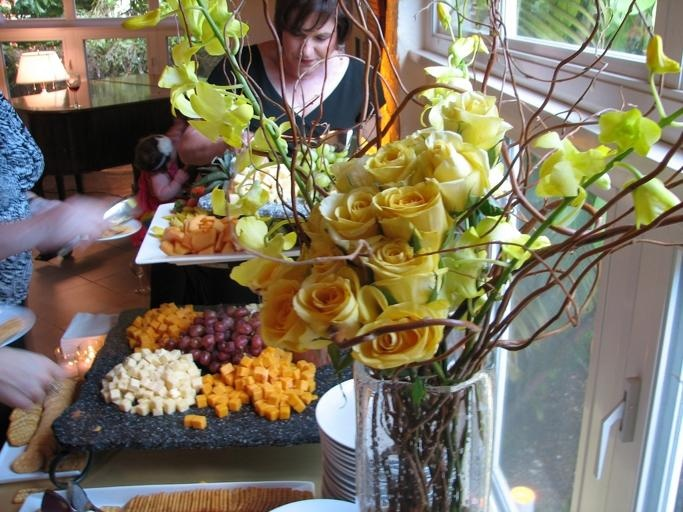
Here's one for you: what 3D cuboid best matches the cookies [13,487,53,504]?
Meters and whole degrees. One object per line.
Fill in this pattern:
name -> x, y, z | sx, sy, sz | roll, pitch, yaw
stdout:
cookies -> -0.720, 0.545, 1.195 | 0.075, 0.013, 0.044 | -6, 17, -23

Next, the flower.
flower -> 0.022, -0.029, 0.680 | 0.525, 0.551, 0.478 | 5, 28, 9

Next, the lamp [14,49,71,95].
lamp -> -3.270, -1.973, 5.556 | 0.494, 0.401, 0.415 | -16, 33, -29

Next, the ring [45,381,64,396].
ring -> -0.825, 0.378, 1.471 | 0.027, 0.028, 0.028 | -2, 3, 0

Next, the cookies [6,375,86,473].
cookies -> -0.788, 0.433, 1.341 | 0.121, 0.040, 0.204 | -16, 35, 28
